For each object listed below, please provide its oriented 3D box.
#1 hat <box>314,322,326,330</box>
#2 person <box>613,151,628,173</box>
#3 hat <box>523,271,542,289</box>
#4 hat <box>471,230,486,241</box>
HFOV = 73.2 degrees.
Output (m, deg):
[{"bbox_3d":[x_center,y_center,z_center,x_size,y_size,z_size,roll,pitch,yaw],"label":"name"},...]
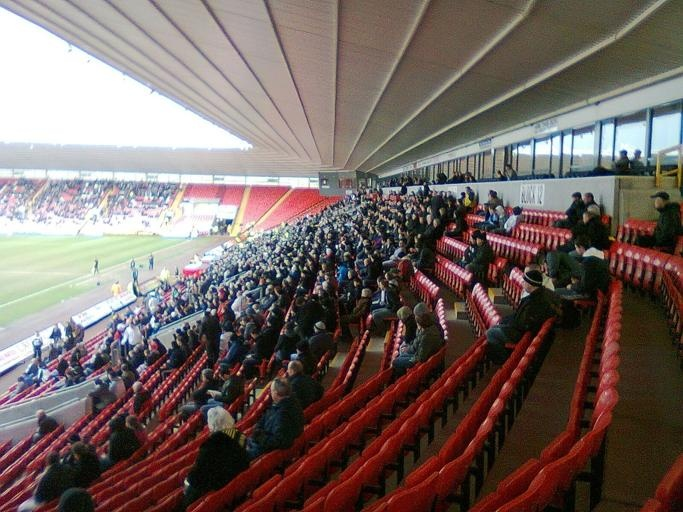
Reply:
[{"bbox_3d":[-0.361,1.145,7.572,0.126,0.067,0.135,31,35,8],"label":"hat"},{"bbox_3d":[6.566,-2.190,10.771,0.283,0.540,1.732,5,11,30],"label":"person"},{"bbox_3d":[2.296,0.276,5.537,0.154,0.161,0.233,2,8,2],"label":"hat"},{"bbox_3d":[2.865,-0.443,9.655,0.203,0.176,0.316,0,-8,26],"label":"hat"}]
